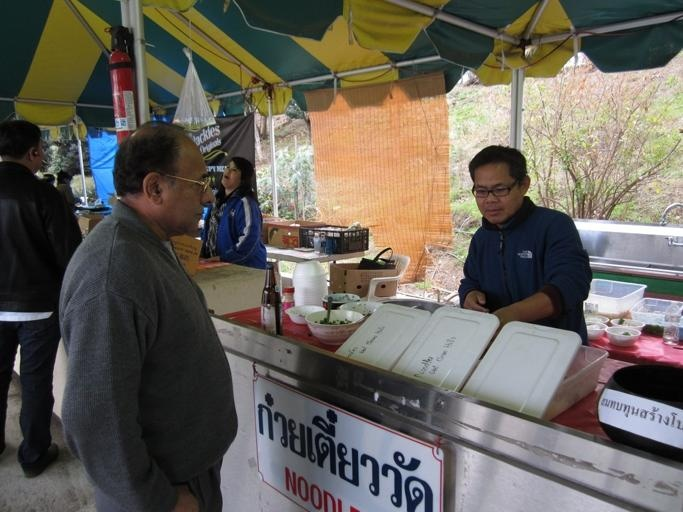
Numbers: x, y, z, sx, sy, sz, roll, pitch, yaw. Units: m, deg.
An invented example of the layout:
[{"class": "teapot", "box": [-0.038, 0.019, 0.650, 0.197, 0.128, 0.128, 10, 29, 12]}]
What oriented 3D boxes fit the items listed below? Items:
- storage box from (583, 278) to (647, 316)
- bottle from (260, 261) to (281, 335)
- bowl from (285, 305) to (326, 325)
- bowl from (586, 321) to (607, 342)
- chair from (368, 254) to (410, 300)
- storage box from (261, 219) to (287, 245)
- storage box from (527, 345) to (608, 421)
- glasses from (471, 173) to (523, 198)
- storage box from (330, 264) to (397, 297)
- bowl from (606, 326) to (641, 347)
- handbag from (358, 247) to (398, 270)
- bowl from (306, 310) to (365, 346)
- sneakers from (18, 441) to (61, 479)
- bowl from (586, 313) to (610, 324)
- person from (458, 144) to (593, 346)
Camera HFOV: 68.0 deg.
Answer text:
[{"class": "storage box", "box": [1.650, 0.247, 3.027, 0.424, 0.135, 0.328, -9, 9, -40]}, {"class": "bottle", "box": [-0.288, 0.175, 2.053, 0.081, 0.287, 0.322, -1, 10, -8]}, {"class": "bowl", "box": [-0.183, 0.245, 2.221, 0.099, 0.037, 0.106, -1, 4, 0]}, {"class": "bowl", "box": [1.313, 0.381, 2.626, 0.121, 0.053, 0.119, -3, 5, 0]}, {"class": "chair", "box": [0.302, 0.130, 3.075, 0.329, 0.224, 0.243, -3, 8, -20]}, {"class": "storage box", "box": [-0.666, -0.255, 5.148, 0.248, 0.183, 0.254, 12, 14, 41]}, {"class": "storage box", "box": [0.734, 0.395, 1.578, 0.288, 0.098, 0.190, -15, 10, -27]}, {"class": "glasses", "box": [0.683, -0.294, 2.218, 0.201, 0.081, 0.076, 3, 10, 16]}, {"class": "storage box", "box": [0.095, 0.114, 3.301, 0.284, 0.165, 0.273, -2, 5, -23]}, {"class": "bowl", "box": [1.425, 0.402, 2.549, 0.117, 0.047, 0.114, -2, 4, 0]}, {"class": "handbag", "box": [0.255, 0.025, 3.428, 0.238, 0.241, 0.150, 1, 6, -20]}, {"class": "bowl", "box": [-0.025, 0.273, 1.985, 0.161, 0.065, 0.156, 0, 9, 0]}, {"class": "sneakers", "box": [-1.762, 1.180, 2.936, 0.082, 0.094, 0.224, 6, 19, 3]}, {"class": "bowl", "box": [1.399, 0.350, 2.781, 0.082, 0.028, 0.079, -1, 1, 0]}, {"class": "person", "box": [0.800, -0.083, 2.124, 0.488, 0.752, 0.677, 1, 10, 4]}]
